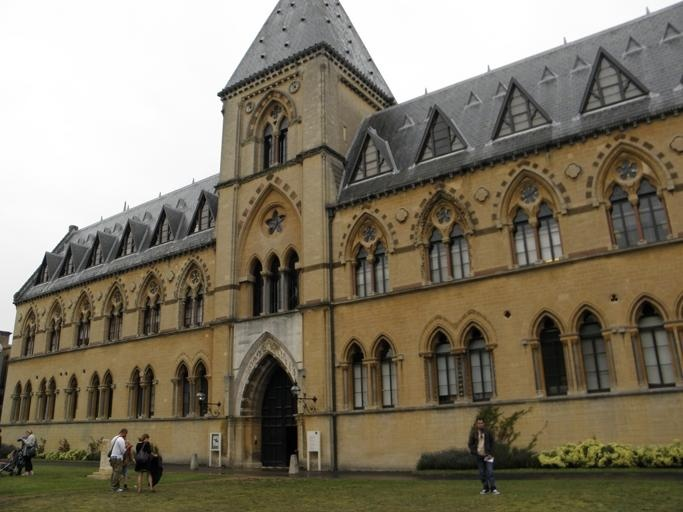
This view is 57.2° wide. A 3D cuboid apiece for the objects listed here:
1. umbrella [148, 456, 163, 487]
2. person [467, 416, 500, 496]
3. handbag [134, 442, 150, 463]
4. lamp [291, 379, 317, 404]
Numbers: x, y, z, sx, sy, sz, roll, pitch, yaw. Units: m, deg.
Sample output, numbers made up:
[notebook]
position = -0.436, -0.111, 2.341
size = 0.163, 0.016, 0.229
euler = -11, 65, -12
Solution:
[umbrella]
position = -6.489, 7.483, 22.001
size = 0.323, 1.044, 0.643
euler = -2, -20, -3
[person]
position = 4.562, 6.399, 20.267
size = 0.718, 2.382, 1.286
euler = -8, -20, 11
[handbag]
position = -6.967, 6.848, 21.975
size = 0.507, 0.679, 0.381
euler = -2, -20, -6
[lamp]
position = -1.978, 6.703, 30.648
size = 1.299, 0.994, 0.738
euler = 21, -31, -38
